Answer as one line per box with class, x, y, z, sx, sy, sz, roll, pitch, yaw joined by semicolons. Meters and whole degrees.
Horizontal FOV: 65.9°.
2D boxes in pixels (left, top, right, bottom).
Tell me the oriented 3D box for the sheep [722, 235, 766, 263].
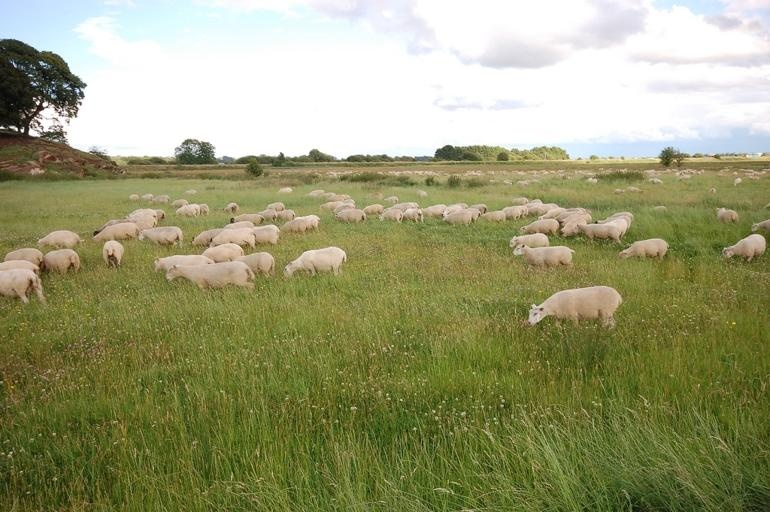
sheep;11.469;-0.265;18.776;1.297;0.715;0.914;-2;10;9
